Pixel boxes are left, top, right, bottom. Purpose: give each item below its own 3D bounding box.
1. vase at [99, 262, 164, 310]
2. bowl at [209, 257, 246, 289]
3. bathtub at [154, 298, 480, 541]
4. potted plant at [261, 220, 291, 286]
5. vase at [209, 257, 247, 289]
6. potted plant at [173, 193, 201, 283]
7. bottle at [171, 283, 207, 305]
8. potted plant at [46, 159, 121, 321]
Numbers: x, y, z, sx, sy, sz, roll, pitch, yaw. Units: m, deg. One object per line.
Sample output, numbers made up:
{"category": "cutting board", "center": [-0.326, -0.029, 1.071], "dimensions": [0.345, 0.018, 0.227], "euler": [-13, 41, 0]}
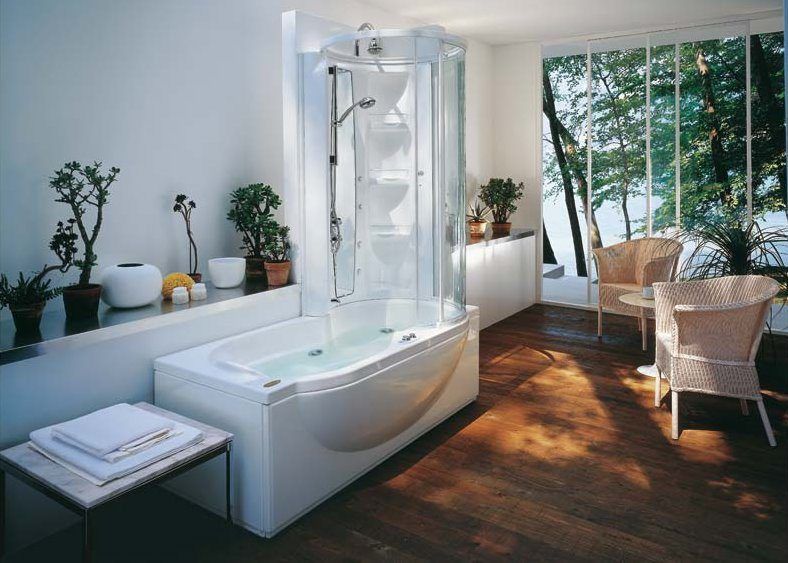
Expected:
{"category": "vase", "center": [-1.512, 0.027, 2.973], "dimensions": [0.269, 0.200, 0.274], "euler": [0, 2, -6]}
{"category": "bowl", "center": [-1.102, -0.058, 3.461], "dimensions": [0.203, 0.154, 0.208], "euler": [-2, 2, 0]}
{"category": "bathtub", "center": [-0.313, 0.635, 3.342], "dimensions": [0.907, 0.856, 2.068], "euler": [11, 18, 40]}
{"category": "potted plant", "center": [-0.821, -0.206, 3.616], "dimensions": [0.203, 0.414, 0.371], "euler": [-5, 14, -15]}
{"category": "vase", "center": [-1.098, -0.056, 3.453], "dimensions": [0.202, 0.152, 0.207], "euler": [-1, 1, 22]}
{"category": "potted plant", "center": [-1.391, -0.319, 3.517], "dimensions": [0.178, 0.546, 0.123], "euler": [-12, 17, -39]}
{"category": "bottle", "center": [-1.245, 0.075, 3.142], "dimensions": [0.109, 0.082, 0.195], "euler": [1, 3, 36]}
{"category": "potted plant", "center": [-1.719, -0.258, 2.920], "dimensions": [0.411, 0.822, 0.602], "euler": [-8, 15, -27]}
